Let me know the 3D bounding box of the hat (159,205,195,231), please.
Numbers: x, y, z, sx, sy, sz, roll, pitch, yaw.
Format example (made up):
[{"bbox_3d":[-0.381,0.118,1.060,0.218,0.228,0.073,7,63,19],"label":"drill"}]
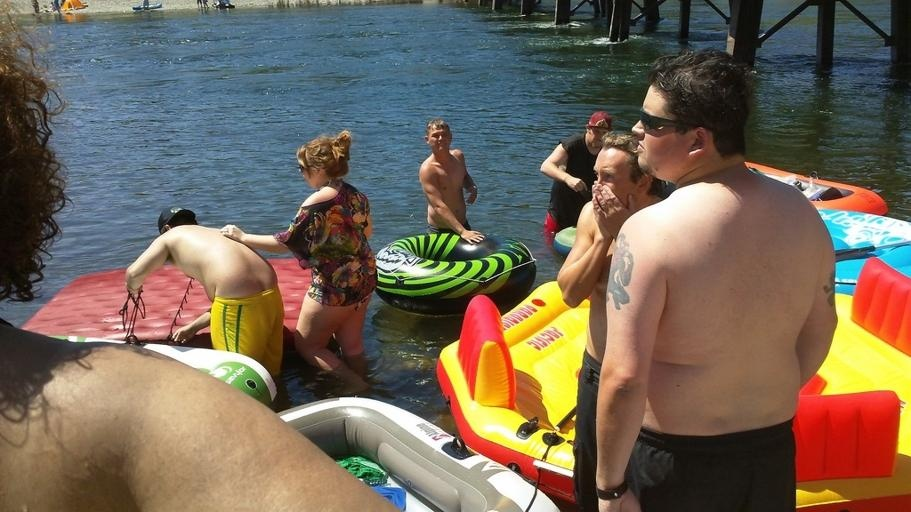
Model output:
[{"bbox_3d":[-3.287,-0.427,10.440,0.384,0.180,0.267,-28,-8,24],"label":"hat"}]

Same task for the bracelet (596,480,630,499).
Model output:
[{"bbox_3d":[1.255,1.877,7.110,0.196,0.165,0.169,-3,6,-22],"label":"bracelet"}]
